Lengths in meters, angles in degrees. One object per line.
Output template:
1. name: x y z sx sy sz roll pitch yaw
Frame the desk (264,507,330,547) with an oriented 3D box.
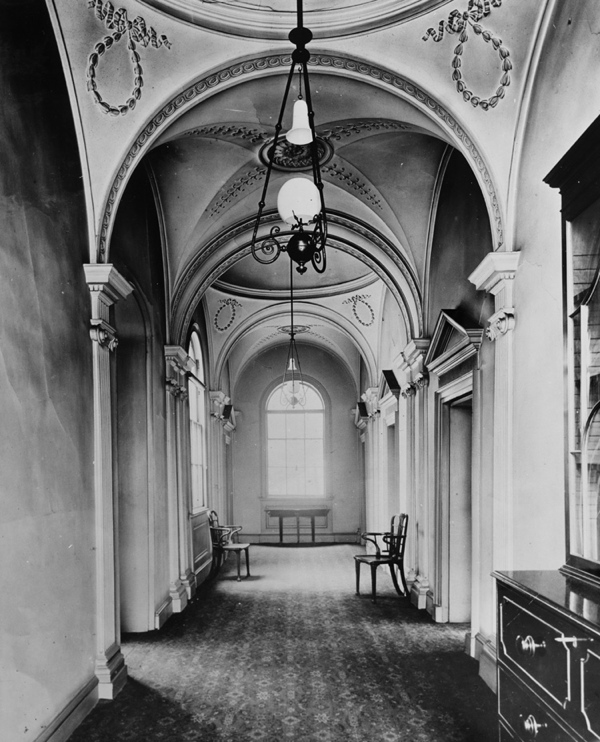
1. desk: -0.057 3.181 15.481 1.110 0.742 1.945 0 -7 -1
